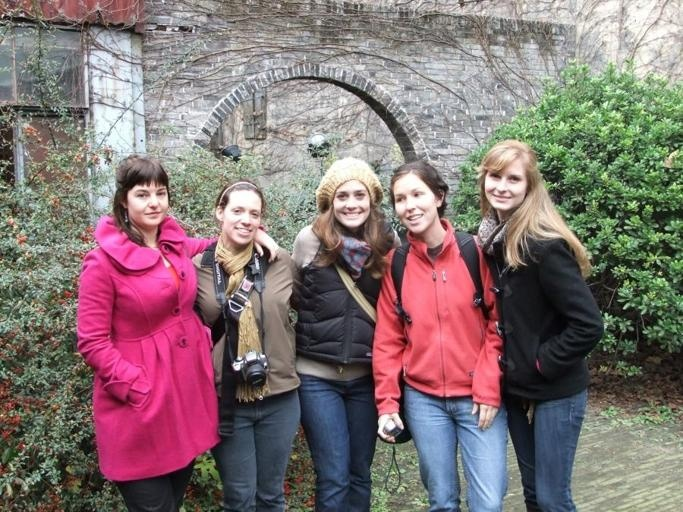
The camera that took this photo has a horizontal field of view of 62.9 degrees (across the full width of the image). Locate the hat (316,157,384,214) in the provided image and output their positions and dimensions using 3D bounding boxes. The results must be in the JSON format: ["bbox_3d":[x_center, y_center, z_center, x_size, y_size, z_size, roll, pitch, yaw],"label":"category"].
[{"bbox_3d":[0.051,-0.478,3.769,0.360,0.277,0.355,-4,6,-3],"label":"hat"}]

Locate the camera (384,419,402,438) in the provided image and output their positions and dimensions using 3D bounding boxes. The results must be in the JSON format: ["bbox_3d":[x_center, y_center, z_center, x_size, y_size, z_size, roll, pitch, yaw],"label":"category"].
[{"bbox_3d":[0.303,1.041,3.379,0.058,0.064,0.109,46,-5,43],"label":"camera"}]

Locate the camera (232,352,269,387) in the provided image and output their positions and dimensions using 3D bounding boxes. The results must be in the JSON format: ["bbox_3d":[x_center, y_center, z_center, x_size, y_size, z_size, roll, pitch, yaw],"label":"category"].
[{"bbox_3d":[-0.534,0.660,3.251,0.226,0.142,0.233,-3,22,-10],"label":"camera"}]
